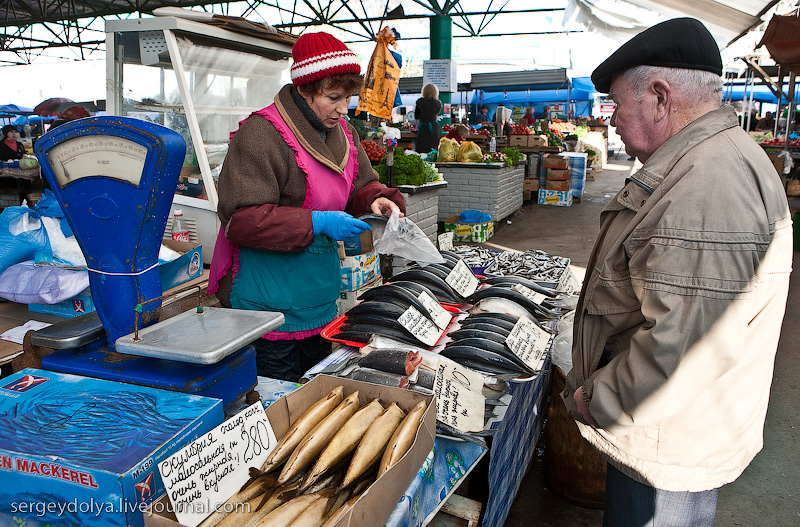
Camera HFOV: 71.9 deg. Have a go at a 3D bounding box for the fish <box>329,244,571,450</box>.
[{"bbox_3d":[0.431,0.307,2.584,0.641,0.218,1.050,11,16,22],"label":"fish"}]

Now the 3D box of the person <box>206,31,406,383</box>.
[{"bbox_3d":[-0.460,-0.013,2.640,0.856,2.031,0.910,-11,22,-41],"label":"person"}]

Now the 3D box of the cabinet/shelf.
[{"bbox_3d":[-1.572,-0.954,4.229,1.326,1.855,0.936,5,19,-13],"label":"cabinet/shelf"}]

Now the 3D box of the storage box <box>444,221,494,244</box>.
[{"bbox_3d":[0.978,-0.422,7.726,0.416,0.147,0.439,5,9,30],"label":"storage box"}]

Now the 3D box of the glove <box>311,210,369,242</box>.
[{"bbox_3d":[-0.250,-0.156,2.323,0.233,0.132,0.183,-1,14,-4],"label":"glove"}]

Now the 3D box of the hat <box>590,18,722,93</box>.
[{"bbox_3d":[0.860,-0.696,1.887,0.428,0.206,0.312,2,12,28],"label":"hat"}]

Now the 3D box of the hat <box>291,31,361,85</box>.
[{"bbox_3d":[-0.314,-0.845,2.293,0.294,0.210,0.145,-1,14,-5],"label":"hat"}]

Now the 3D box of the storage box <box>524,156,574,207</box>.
[{"bbox_3d":[3.035,-1.685,11.431,0.973,1.140,0.902,7,18,27],"label":"storage box"}]
